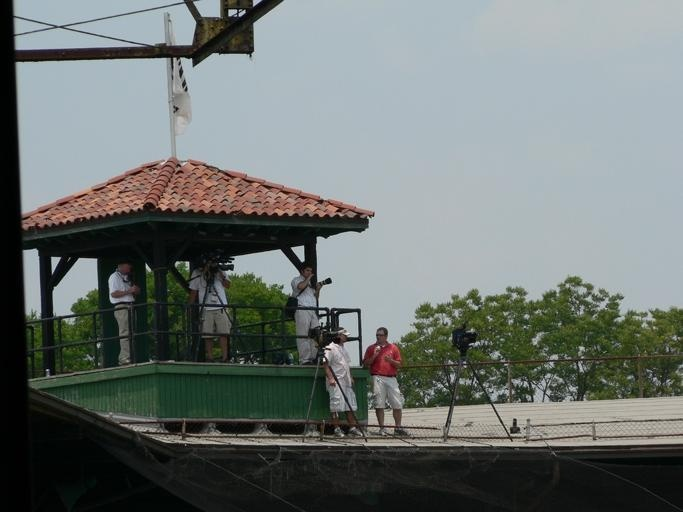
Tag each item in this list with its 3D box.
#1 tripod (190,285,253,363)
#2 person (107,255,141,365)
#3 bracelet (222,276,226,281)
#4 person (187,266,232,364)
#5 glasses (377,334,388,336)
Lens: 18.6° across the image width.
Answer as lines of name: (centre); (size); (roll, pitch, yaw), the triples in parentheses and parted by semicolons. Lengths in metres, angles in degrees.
tripod: (-2.771, 1.197, 44.714); (0.841, 1.801, 0.872); (0, -3, 41)
person: (-4.606, 1.094, 45.205); (0.689, 2.235, 0.814); (-8, -1, 8)
bracelet: (-2.553, 0.374, 45.117); (0.043, 0.118, 0.082); (-25, 2, 9)
person: (-2.781, 0.998, 44.966); (0.758, 2.451, 0.765); (-2, -5, 45)
glasses: (0.892, 1.605, 45.351); (0.190, 0.058, 0.172); (-2, -10, -10)
